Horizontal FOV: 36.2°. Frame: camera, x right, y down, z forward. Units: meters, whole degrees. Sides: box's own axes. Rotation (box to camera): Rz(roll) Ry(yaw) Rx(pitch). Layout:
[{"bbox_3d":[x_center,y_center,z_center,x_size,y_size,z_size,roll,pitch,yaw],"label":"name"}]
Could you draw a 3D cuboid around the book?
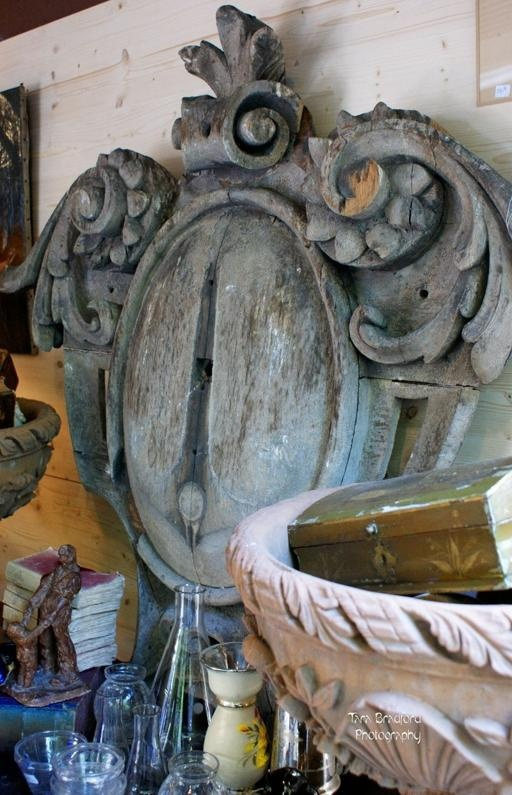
[{"bbox_3d":[-0.337,0.337,1.385,0.166,0.202,0.280,-3,5,-37],"label":"book"}]
